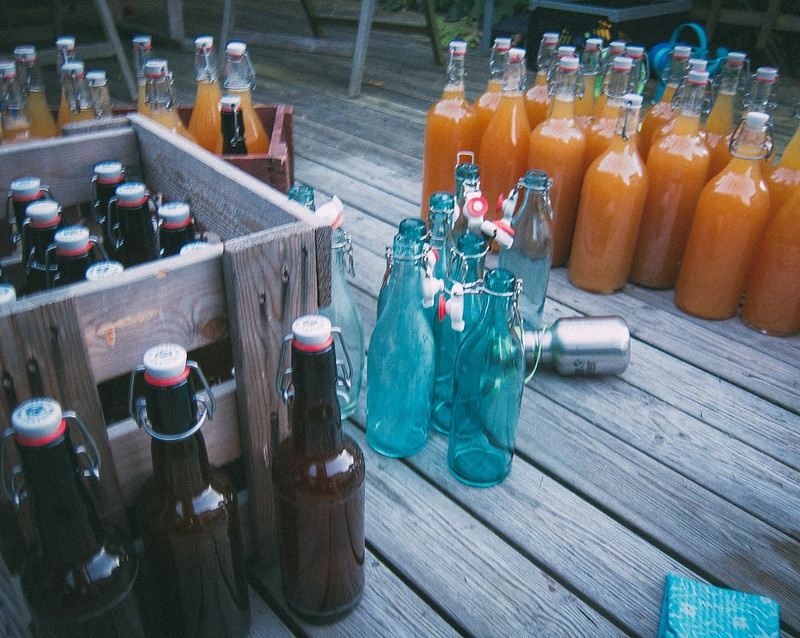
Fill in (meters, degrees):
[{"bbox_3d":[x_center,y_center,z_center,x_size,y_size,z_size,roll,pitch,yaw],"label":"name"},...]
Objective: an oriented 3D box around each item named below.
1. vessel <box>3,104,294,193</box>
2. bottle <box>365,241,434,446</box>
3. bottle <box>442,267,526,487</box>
[{"bbox_3d":[-0.490,-0.321,1.174,0.277,0.128,0.159,0,35,-3],"label":"vessel"},{"bbox_3d":[0.000,0.078,1.131,0.103,0.383,0.093,24,35,35],"label":"bottle"},{"bbox_3d":[0.161,0.107,1.130,0.123,0.357,0.179,5,28,6],"label":"bottle"}]
